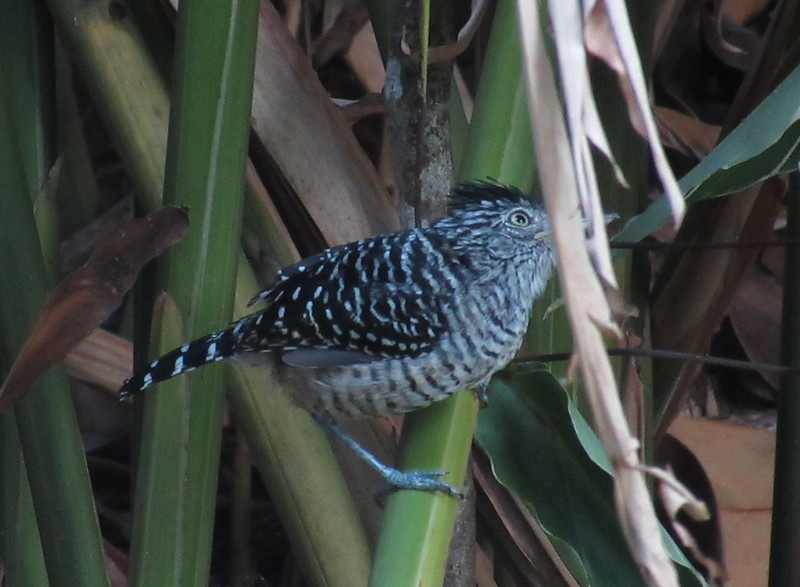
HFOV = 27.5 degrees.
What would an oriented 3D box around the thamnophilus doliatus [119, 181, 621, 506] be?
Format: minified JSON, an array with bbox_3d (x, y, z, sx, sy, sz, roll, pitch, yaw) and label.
[{"bbox_3d":[-0.074,0.032,2.303,0.637,0.441,0.262,6,2,9],"label":"thamnophilus doliatus"}]
